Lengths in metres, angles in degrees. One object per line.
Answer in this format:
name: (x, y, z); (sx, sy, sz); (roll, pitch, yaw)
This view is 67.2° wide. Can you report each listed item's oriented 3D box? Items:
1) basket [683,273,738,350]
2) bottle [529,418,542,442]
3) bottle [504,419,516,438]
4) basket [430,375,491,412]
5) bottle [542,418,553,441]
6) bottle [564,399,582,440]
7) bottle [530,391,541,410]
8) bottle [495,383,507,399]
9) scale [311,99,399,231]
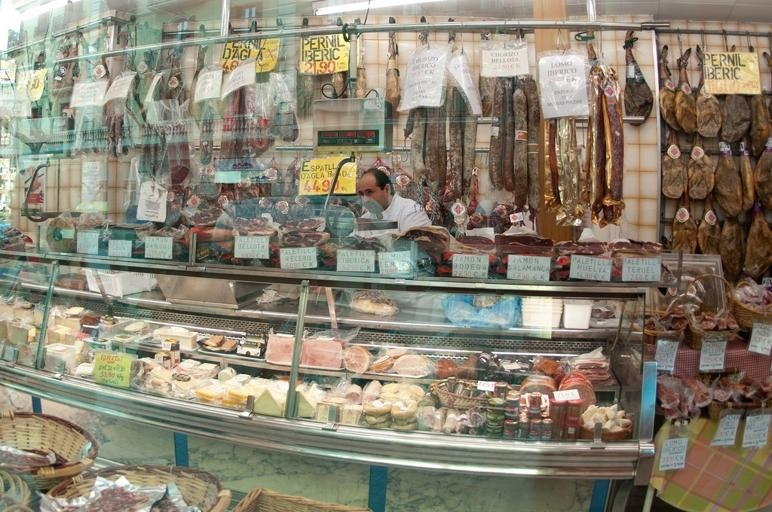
basket: (2.168, 0.384, 3.890); (0.388, 0.480, 0.360); (-12, 15, -40)
bottle: (0.883, 1.027, 3.441); (0.071, 0.110, 0.056); (-1, 20, 11)
bottle: (0.742, 1.031, 3.457); (0.085, 0.097, 0.053); (-1, 20, 10)
basket: (0.454, 0.873, 3.632); (0.268, 0.122, 0.339); (-10, 8, -35)
bottle: (0.954, 1.027, 3.444); (0.068, 0.108, 0.067); (-4, 20, 2)
bottle: (1.106, 0.968, 3.442); (0.089, 0.208, 0.111); (2, 21, 18)
bottle: (0.890, 0.869, 3.509); (0.076, 0.116, 0.078); (0, 2, 0)
bottle: (0.707, 0.826, 3.572); (0.069, 0.101, 0.072); (0, -1, 0)
scale: (-0.240, -0.777, 4.353); (0.487, 0.653, 0.368); (1, -6, 18)
